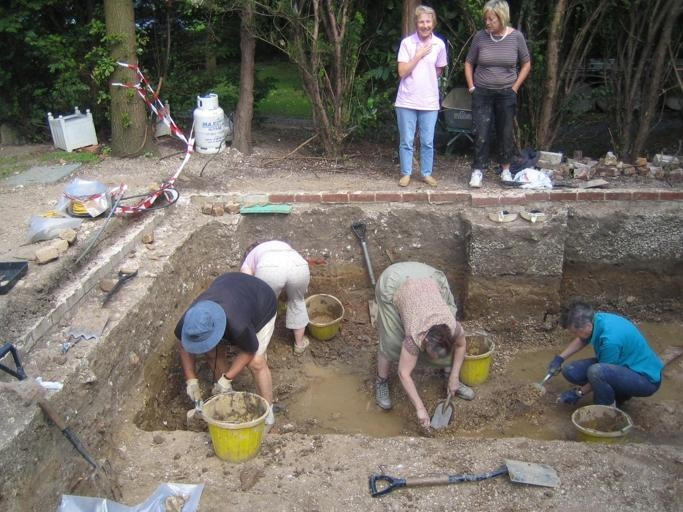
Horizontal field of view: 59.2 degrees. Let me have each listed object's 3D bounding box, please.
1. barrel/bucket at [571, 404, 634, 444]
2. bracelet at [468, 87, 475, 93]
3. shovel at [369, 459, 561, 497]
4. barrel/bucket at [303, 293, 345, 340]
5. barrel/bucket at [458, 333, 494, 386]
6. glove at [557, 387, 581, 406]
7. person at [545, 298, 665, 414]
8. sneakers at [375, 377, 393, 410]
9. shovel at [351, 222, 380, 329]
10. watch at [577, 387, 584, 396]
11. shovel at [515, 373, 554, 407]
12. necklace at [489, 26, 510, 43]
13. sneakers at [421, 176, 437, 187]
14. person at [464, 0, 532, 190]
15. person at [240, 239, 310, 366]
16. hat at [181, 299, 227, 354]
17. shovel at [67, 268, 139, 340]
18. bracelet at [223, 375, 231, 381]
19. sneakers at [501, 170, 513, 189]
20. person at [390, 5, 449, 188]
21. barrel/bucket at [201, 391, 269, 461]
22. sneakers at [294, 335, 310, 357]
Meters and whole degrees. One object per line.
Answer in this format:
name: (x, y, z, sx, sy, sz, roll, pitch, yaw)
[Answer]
barrel/bucket: (2.522, 1.650, 5.857, 0.586, 0.305, 0.418, 7, 27, 14)
bracelet: (1.626, -2.087, 7.589, 0.053, 0.015, 0.051, -37, 10, -38)
shovel: (1.096, 1.904, 5.195, 1.916, 0.107, 0.549, -2, 10, -1)
barrel/bucket: (-0.215, 0.672, 7.380, 0.466, 0.351, 0.530, -3, 50, 1)
barrel/bucket: (1.446, 1.235, 6.665, 0.388, 0.320, 0.379, -1, 2, 0)
glove: (2.371, 1.493, 6.320, 0.226, 0.069, 0.171, -30, 37, 11)
person: (2.698, 1.089, 6.270, 1.085, 1.252, 0.867, -3, 10, 32)
sneakers: (0.445, 1.456, 6.595, 0.144, 0.258, 0.415, -1, 15, -6)
shovel: (0.348, 0.334, 7.689, 0.242, 1.515, 0.209, -11, 15, -9)
watch: (2.474, 1.399, 6.273, 0.046, 0.097, 0.062, -5, 30, 5)
shovel: (2.055, 1.437, 6.473, 0.190, 0.086, 0.573, 38, 42, 21)
necklace: (1.904, -2.665, 7.292, 0.249, 0.165, 0.088, 4, 26, 8)
sneakers: (1.124, -0.966, 7.809, 0.094, 0.094, 0.206, -19, 26, -29)
person: (1.911, -1.997, 7.509, 0.754, 2.183, 0.707, 1, 25, 3)
person: (-0.822, 0.422, 6.454, 0.714, 1.077, 1.044, -7, 48, -9)
hat: (-1.226, 0.597, 5.201, 0.405, 0.173, 0.482, -4, 50, 15)
shovel: (-2.228, 0.433, 5.658, 0.165, 0.073, 0.859, 4, 38, 7)
bracelet: (-1.069, 1.127, 5.617, 0.050, 0.038, 0.020, 37, 79, 20)
sneakers: (2.116, -0.990, 7.754, 0.105, 0.121, 0.278, -3, 28, 10)
person: (0.960, -1.942, 7.480, 0.590, 2.124, 0.470, 2, 25, 6)
barrel/bucket: (-0.979, 1.553, 5.453, 0.616, 0.420, 0.571, 3, 15, -1)
sneakers: (-0.469, 1.050, 7.121, 0.096, 0.114, 0.256, 4, 27, 14)
